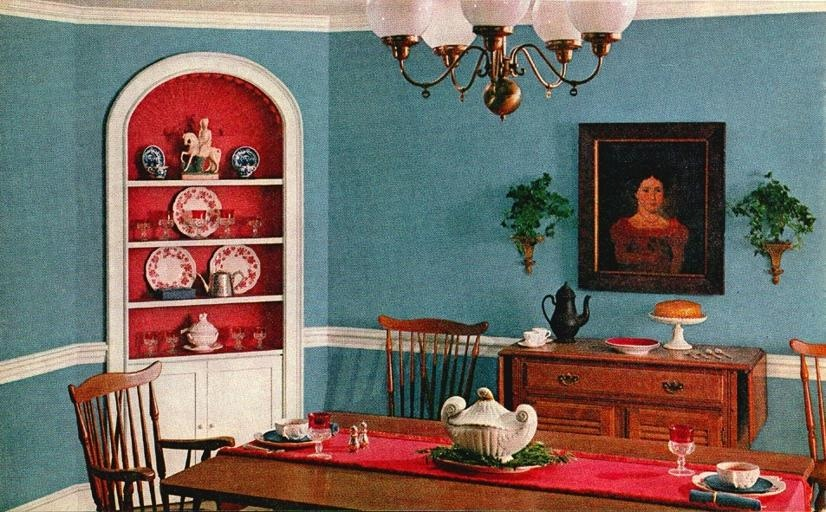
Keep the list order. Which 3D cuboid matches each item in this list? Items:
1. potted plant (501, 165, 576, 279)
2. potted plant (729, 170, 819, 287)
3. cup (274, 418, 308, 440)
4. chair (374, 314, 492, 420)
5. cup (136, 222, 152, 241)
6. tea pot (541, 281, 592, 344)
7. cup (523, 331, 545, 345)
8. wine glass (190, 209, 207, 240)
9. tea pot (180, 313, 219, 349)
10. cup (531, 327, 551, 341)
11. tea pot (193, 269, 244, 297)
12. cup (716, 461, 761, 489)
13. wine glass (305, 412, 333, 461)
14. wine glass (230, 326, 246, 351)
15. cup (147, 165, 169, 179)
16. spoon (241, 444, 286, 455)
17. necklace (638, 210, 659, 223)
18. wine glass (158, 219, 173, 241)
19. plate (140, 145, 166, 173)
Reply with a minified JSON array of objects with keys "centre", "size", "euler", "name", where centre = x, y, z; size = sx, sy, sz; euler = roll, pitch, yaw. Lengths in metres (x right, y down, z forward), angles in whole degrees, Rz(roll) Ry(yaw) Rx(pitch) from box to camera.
[{"centre":[0.911,-0.193,5.833],"size":[0.458,0.584,0.458],"euler":[5,-1,15],"name":"potted plant"},{"centre":[2.517,-0.196,5.370],"size":[0.555,0.798,0.205],"euler":[-2,1,25],"name":"potted plant"},{"centre":[-0.671,0.952,4.192],"size":[0.141,0.061,0.132],"euler":[1,1,0],"name":"cup"},{"centre":[0.150,0.878,5.739],"size":[0.777,0.668,1.069],"euler":[-2,0,2],"name":"chair"},{"centre":[-2.087,-0.191,5.926],"size":[0.125,0.143,0.132],"euler":[-2,0,0],"name":"cup"},{"centre":[1.147,0.428,5.643],"size":[0.458,0.501,0.266],"euler":[1,-4,-5],"name":"tea pot"},{"centre":[0.877,0.600,5.514],"size":[0.129,0.056,0.087],"euler":[0,-2,1],"name":"cup"},{"centre":[-1.687,-0.249,6.018],"size":[0.107,0.214,0.056],"euler":[-2,1,-21],"name":"wine glass"},{"centre":[-1.671,0.604,6.121],"size":[0.290,0.242,0.279],"euler":[2,-4,0],"name":"tea pot"},{"centre":[0.950,0.570,5.572],"size":[0.129,0.081,0.088],"euler":[2,-6,-16],"name":"cup"},{"centre":[-1.531,0.234,6.090],"size":[0.303,0.154,0.176],"euler":[2,-1,-8],"name":"tea pot"},{"centre":[1.559,1.050,3.673],"size":[0.143,0.062,0.137],"euler":[1,-5,0],"name":"cup"},{"centre":[-0.509,0.951,4.013],"size":[0.155,0.211,0.149],"euler":[-8,-16,3],"name":"wine glass"},{"centre":[-1.414,0.680,6.183],"size":[0.165,0.214,0.143],"euler":[1,-1,6],"name":"wine glass"},{"centre":[-1.988,-0.652,5.930],"size":[0.170,0.113,0.175],"euler":[-2,0,0],"name":"cup"},{"centre":[-0.807,1.051,4.126],"size":[0.210,0.029,0.043],"euler":[3,4,34],"name":"spoon"},{"centre":[1.748,-0.277,5.629],"size":[0.100,0.074,0.037],"euler":[17,-3,24],"name":"necklace"},{"centre":[-1.937,-0.208,5.966],"size":[0.163,0.174,0.158],"euler":[1,-1,-2],"name":"wine glass"},{"centre":[-2.004,-0.751,5.873],"size":[0.209,0.196,0.046],"euler":[-9,1,-35],"name":"plate"}]
